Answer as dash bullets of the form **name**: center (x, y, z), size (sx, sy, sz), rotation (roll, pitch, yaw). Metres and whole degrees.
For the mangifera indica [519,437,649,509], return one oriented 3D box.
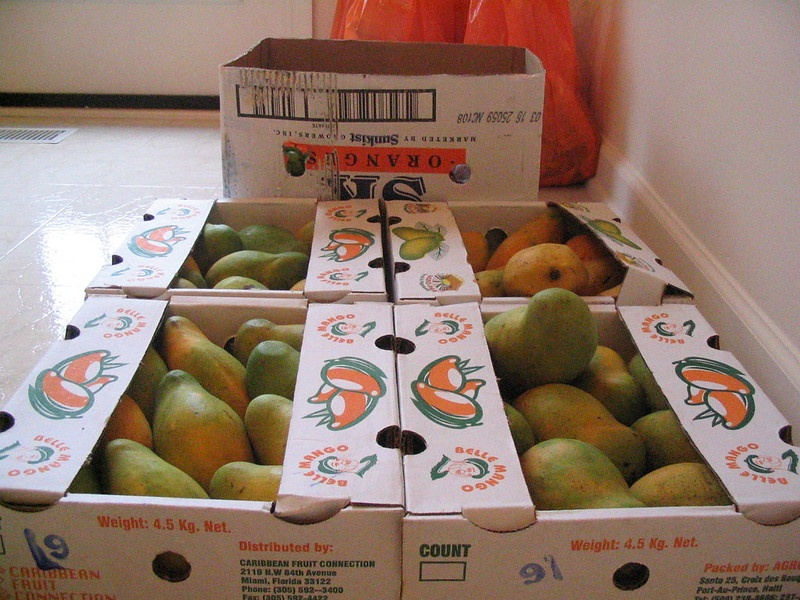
- **mangifera indica**: center (0.218, 0.191, 0.728), size (0.116, 0.068, 0.068), rotation (16, 35, 43)

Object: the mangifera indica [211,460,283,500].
- **mangifera indica**: center (-0.177, 0.212, 0.751), size (0.076, 0.041, 0.046), rotation (6, 62, 19)

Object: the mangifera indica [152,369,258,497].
- **mangifera indica**: center (-0.275, 0.174, 0.838), size (0.103, 0.104, 0.172), rotation (-11, 60, -38)

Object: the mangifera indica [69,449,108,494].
- **mangifera indica**: center (-0.369, 0.210, 0.742), size (0.038, 0.029, 0.051), rotation (16, 44, -29)

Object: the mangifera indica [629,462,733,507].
- **mangifera indica**: center (0.331, 0.220, 0.734), size (0.066, 0.040, 0.052), rotation (-2, 59, 0)
